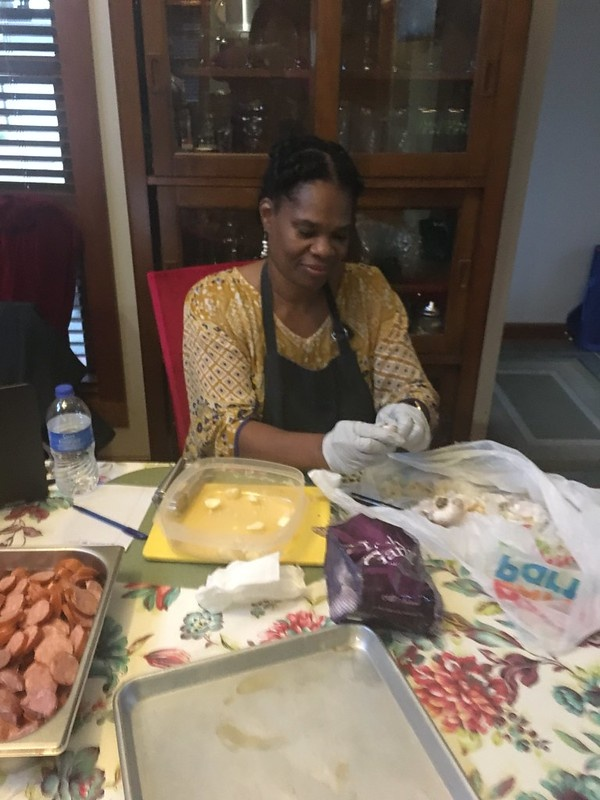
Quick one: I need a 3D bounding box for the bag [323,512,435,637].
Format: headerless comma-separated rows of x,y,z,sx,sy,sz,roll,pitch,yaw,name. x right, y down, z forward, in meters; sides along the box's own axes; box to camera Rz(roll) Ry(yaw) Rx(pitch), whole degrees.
0.107,0.230,0.823,0.138,0.051,0.127,0,61,-14,bag

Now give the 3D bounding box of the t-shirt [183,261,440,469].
-0.009,-0.153,1.597,0.543,0.568,0.533,-7,20,-14,t-shirt

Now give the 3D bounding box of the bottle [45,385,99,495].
-0.418,0.076,1.164,0.120,0.210,0.115,-3,15,1,bottle

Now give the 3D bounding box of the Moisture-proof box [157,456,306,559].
-0.097,0.162,0.989,0.175,0.054,0.148,1,34,-1,Moisture-proof box

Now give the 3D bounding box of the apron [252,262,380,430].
0.022,-0.150,1.446,0.279,0.613,0.066,-8,44,2,apron
